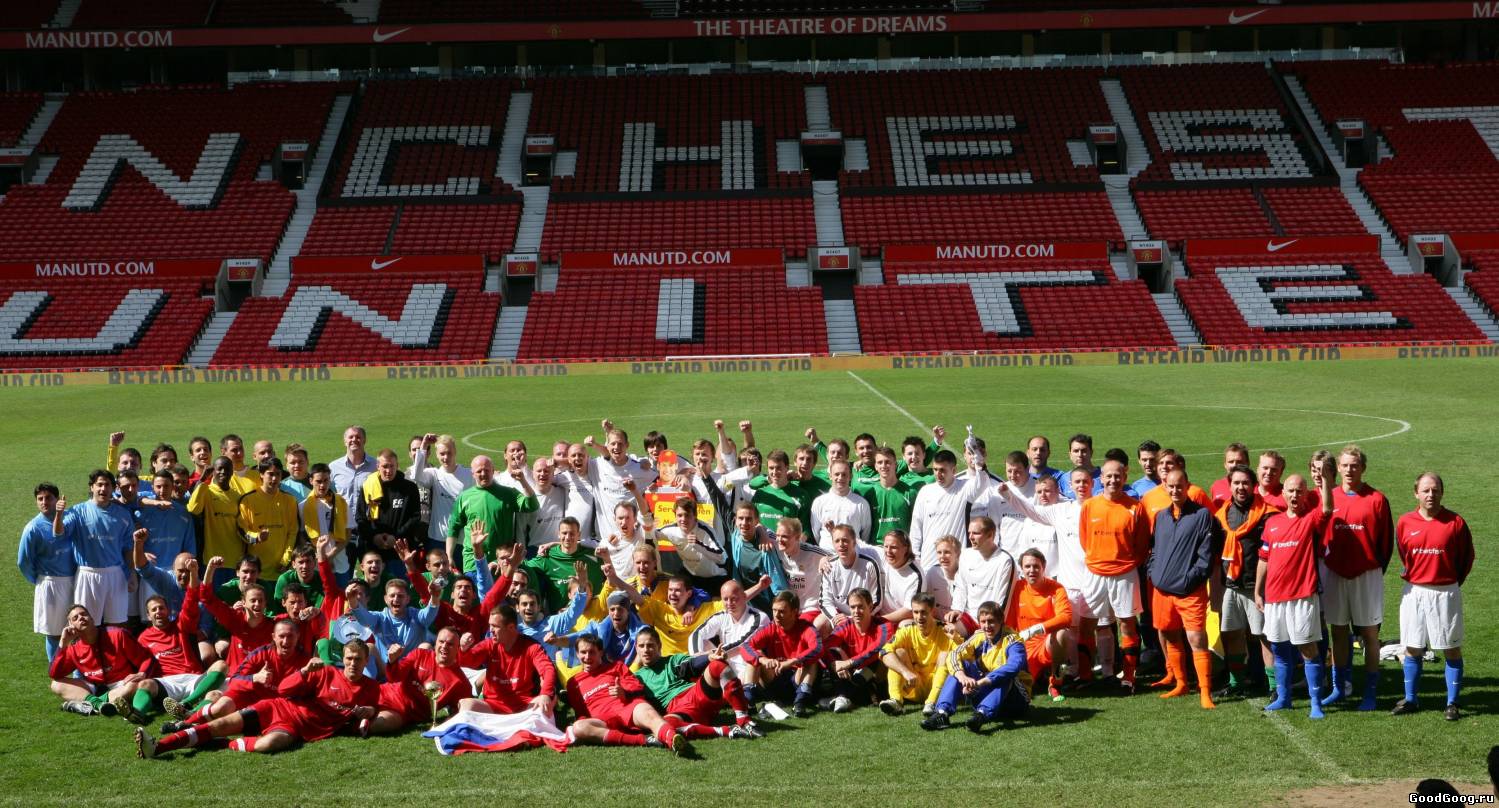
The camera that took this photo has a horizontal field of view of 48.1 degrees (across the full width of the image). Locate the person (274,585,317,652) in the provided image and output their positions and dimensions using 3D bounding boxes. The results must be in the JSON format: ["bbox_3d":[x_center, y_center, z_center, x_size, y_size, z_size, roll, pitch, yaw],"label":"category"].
[{"bbox_3d":[-14.424,6.766,53.961,1.713,1.866,0.908,3,-8,-16],"label":"person"}]

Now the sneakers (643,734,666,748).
[{"bbox_3d":[-3.105,10.631,52.999,0.665,0.259,0.223,-1,5,14],"label":"sneakers"}]
